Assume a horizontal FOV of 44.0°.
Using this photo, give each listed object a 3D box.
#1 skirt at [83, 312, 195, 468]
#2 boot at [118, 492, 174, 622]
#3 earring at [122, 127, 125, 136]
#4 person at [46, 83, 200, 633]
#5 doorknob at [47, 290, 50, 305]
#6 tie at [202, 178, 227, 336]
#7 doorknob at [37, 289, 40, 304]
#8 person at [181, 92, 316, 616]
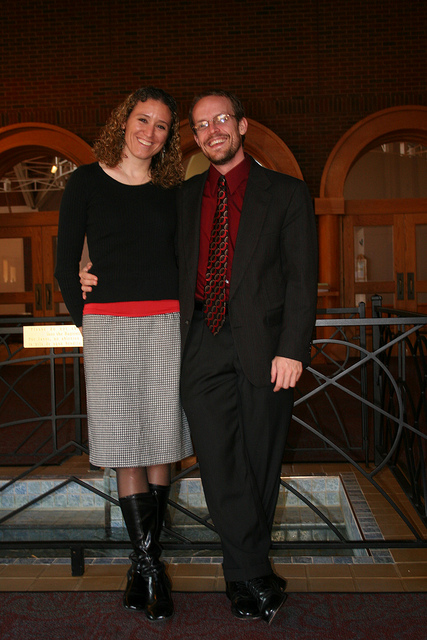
[{"bbox_3d":[-0.261,0.221,1.721,0.321,0.492,0.133,1,-8,-11],"label":"skirt"},{"bbox_3d":[-0.208,0.762,1.745,0.198,0.396,0.138,3,-9,-24],"label":"boot"},{"bbox_3d":[-0.298,-0.641,1.774,0.008,0.030,0.007,4,5,37],"label":"earring"},{"bbox_3d":[-0.375,0.242,2.363,0.486,1.954,1.509,0,-8,-8],"label":"person"},{"bbox_3d":[-2.854,-0.400,9.170,0.040,0.235,0.118,2,-9,-19],"label":"doorknob"},{"bbox_3d":[0.005,-0.214,1.695,0.096,0.513,0.093,-2,-8,8],"label":"tie"},{"bbox_3d":[-3.027,-0.410,9.167,0.037,0.216,0.095,2,-9,-18],"label":"doorknob"},{"bbox_3d":[0.115,0.093,1.736,0.437,1.702,0.285,0,-8,-4],"label":"person"}]
